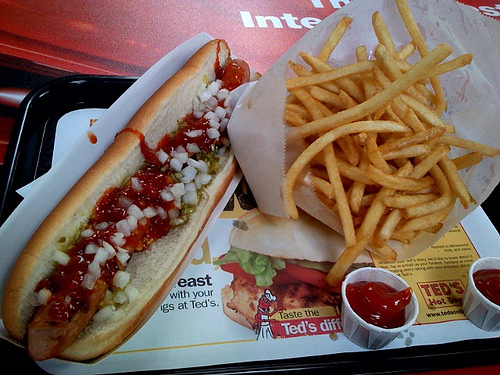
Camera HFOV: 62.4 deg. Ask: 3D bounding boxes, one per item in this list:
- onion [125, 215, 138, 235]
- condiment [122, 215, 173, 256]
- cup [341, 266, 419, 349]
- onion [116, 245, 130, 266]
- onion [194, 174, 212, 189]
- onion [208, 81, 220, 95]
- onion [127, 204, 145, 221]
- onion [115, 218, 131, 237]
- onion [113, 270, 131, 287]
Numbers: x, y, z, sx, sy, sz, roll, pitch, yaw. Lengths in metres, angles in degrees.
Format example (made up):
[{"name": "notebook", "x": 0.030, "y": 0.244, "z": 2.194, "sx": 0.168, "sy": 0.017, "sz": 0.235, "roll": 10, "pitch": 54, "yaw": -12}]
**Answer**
[{"name": "onion", "x": -0.451, "y": 0.134, "z": 1.561, "sx": 0.016, "sy": 0.055, "sz": 0.057, "roll": -8, "pitch": 2, "yaw": 45}, {"name": "condiment", "x": -0.404, "y": 0.170, "z": 1.626, "sx": 0.165, "sy": 0.108, "sz": 0.049, "roll": -37, "pitch": 59, "yaw": -14}, {"name": "cup", "x": 0.522, "y": 0.462, "z": 1.655, "sx": 0.279, "sy": 0.209, "sz": 0.273, "roll": -2, "pitch": 41, "yaw": 2}, {"name": "onion", "x": -0.480, "y": 0.256, "z": 1.554, "sx": 0.047, "sy": 0.088, "sz": 0.027, "roll": -12, "pitch": 29, "yaw": -23}, {"name": "onion", "x": -0.204, "y": -0.035, "z": 1.794, "sx": 0.079, "sy": 0.025, "sz": 0.055, "roll": -37, "pitch": 84, "yaw": -34}, {"name": "onion", "x": -0.169, "y": -0.482, "z": 1.999, "sx": 0.042, "sy": 0.056, "sz": 0.055, "roll": -12, "pitch": 3, "yaw": -42}, {"name": "onion", "x": -0.435, "y": 0.092, "z": 1.574, "sx": 0.047, "sy": 0.064, "sz": 0.024, "roll": -46, "pitch": 5, "yaw": -27}, {"name": "onion", "x": -0.477, "y": 0.151, "z": 1.552, "sx": 0.057, "sy": 0.056, "sz": 0.018, "roll": 4, "pitch": 1, "yaw": -3}, {"name": "onion", "x": -0.484, "y": 0.340, "z": 1.547, "sx": 0.042, "sy": 0.061, "sz": 0.061, "roll": 19, "pitch": 19, "yaw": -3}]
